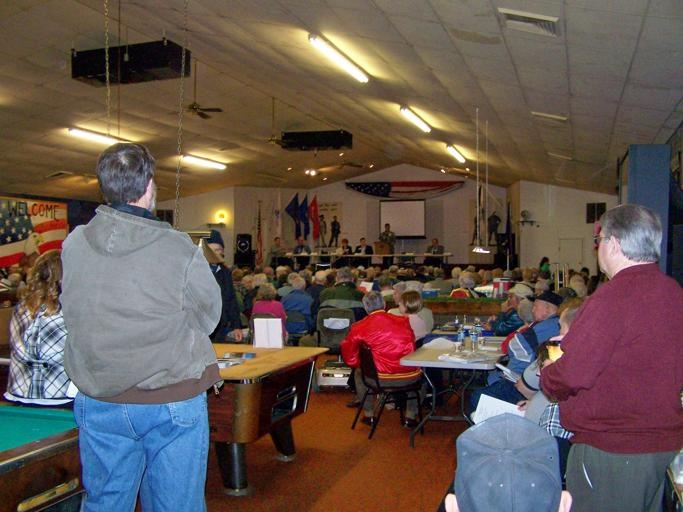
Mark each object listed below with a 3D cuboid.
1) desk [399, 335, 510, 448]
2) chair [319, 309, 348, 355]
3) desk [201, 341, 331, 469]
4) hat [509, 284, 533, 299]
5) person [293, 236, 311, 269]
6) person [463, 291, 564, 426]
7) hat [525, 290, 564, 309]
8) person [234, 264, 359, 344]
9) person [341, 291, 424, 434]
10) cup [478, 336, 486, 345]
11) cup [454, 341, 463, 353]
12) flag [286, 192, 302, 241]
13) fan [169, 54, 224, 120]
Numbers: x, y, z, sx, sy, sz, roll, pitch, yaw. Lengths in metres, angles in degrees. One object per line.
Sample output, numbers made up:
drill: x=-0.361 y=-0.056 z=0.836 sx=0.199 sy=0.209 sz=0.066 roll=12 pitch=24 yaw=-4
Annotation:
desk: x=1.128 y=1.427 z=5.448 sx=0.595 sy=0.585 sz=1.188 roll=-14 pitch=-25 yaw=-20
chair: x=-0.113 y=1.017 z=7.064 sx=0.511 sy=0.704 sz=0.570 roll=2 pitch=4 yaw=3
desk: x=-0.640 y=1.176 z=3.893 sx=0.904 sy=0.611 sz=0.997 roll=0 pitch=2 yaw=24
hat: x=2.203 y=0.429 z=6.413 sx=0.267 sy=0.082 sz=0.251 roll=-1 pitch=2 yaw=-1
person: x=-1.417 y=0.128 z=18.826 sx=0.630 sy=1.615 sz=0.483 roll=-5 pitch=-2 yaw=-9
person: x=1.441 y=0.905 z=4.613 sx=0.795 sy=1.265 sz=0.524 roll=12 pitch=4 yaw=27
hat: x=1.803 y=0.370 z=4.601 sx=0.320 sy=0.112 sz=0.204 roll=8 pitch=-5 yaw=4
person: x=-0.604 y=0.691 z=7.445 sx=1.085 sy=1.350 sz=1.264 roll=1 pitch=5 yaw=11
person: x=0.457 y=1.136 z=5.528 sx=0.977 sy=1.408 sz=0.841 roll=-2 pitch=1 yaw=-31
cup: x=1.454 y=0.883 z=5.411 sx=0.064 sy=0.078 sz=0.121 roll=-3 pitch=-4 yaw=26
cup: x=1.108 y=0.857 z=4.920 sx=0.081 sy=0.104 sz=0.079 roll=1 pitch=9 yaw=0
flag: x=-1.962 y=-1.668 z=21.373 sx=0.613 sy=1.879 sz=1.689 roll=0 pitch=2 yaw=-4
fan: x=-2.632 y=-3.069 z=9.328 sx=0.877 sy=0.997 sz=0.863 roll=1 pitch=6 yaw=-5
